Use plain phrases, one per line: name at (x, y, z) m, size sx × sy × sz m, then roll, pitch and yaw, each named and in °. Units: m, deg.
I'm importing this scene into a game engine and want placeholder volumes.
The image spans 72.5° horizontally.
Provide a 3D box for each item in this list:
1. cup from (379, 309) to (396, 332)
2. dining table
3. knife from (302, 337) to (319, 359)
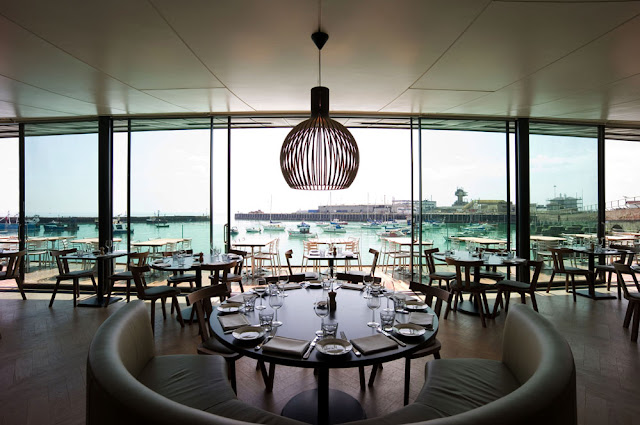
cup at (0.810, 1.269, 5.074) m, size 0.218 × 0.217 × 0.207 m, roll -1°, pitch -1°, yaw 0°
dining table at (0.142, 1.510, 5.041) m, size 2.087 × 0.919 × 2.034 m, roll 0°, pitch 0°, yaw -5°
knife at (-0.087, 1.489, 4.765) m, size 0.063 × 0.017 × 0.359 m, roll -2°, pitch 13°, yaw 14°
